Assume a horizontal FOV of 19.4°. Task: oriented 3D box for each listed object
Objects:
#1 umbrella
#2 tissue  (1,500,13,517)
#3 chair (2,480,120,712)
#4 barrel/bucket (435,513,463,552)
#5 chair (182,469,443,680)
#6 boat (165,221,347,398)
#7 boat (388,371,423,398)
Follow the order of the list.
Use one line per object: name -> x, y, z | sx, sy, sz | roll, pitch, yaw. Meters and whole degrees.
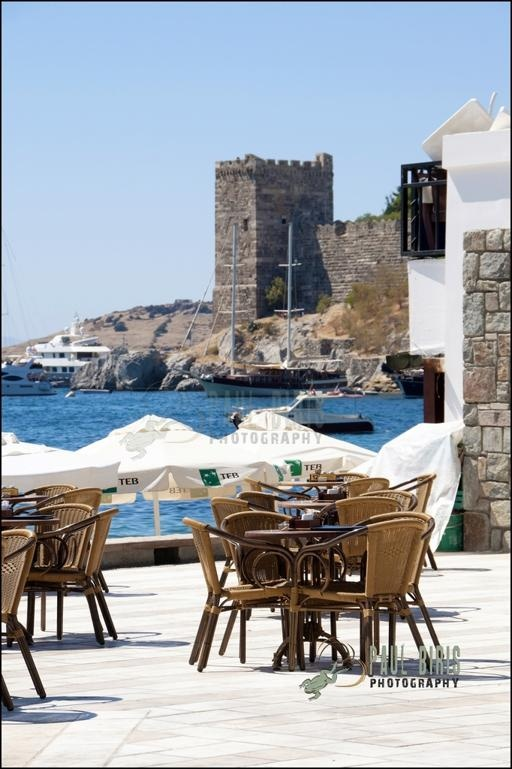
umbrella -> -0.547, 0.879, 15.953 | 2.430, 0.867, 2.459 | -3, -5, 13
tissue  -> -1.293, 0.661, 7.840 | 0.025, 0.095, 0.100 | -2, -8, 26
chair -> -0.879, 0.918, 6.879 | 0.628, 0.878, 0.708 | 2, -4, -14
barrel/bucket -> 1.497, 1.133, 11.363 | 0.254, 0.299, 0.260 | 0, 1, 0
chair -> 0.241, 0.920, 6.955 | 1.076, 0.664, 1.268 | -1, 0, 4
boat -> 0.979, -4.834, 90.963 | 9.703, 11.061, 23.960 | -1, 0, -2
boat -> 8.662, 0.097, 82.646 | 1.328, 1.510, 4.102 | 0, -8, 27
